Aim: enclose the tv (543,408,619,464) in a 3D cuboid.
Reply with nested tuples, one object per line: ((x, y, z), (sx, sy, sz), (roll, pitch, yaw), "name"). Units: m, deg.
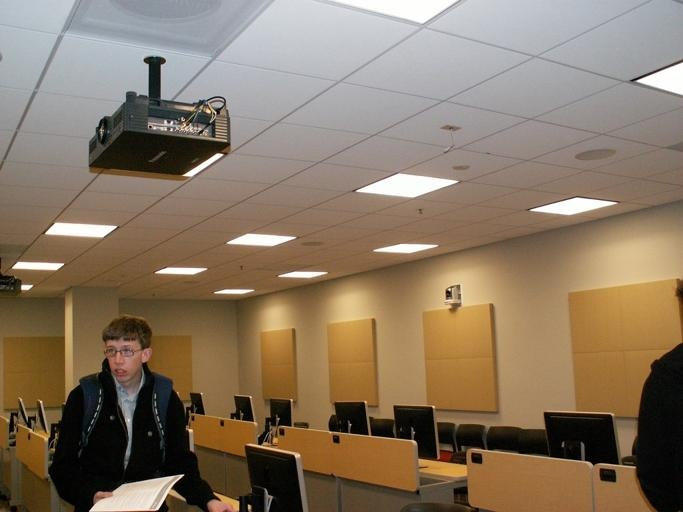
((2.049, 1.556, 4.540), (0.112, 0.411, 0.616), (11, -16, -43), "tv")

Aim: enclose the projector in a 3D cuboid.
((-1.125, -0.773, 3.253), (0.663, 0.392, 0.660), (7, -14, -31), "projector")

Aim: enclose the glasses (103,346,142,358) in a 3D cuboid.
((-1.065, 0.454, 2.491), (0.169, 0.050, 0.084), (-2, -12, 5), "glasses")
